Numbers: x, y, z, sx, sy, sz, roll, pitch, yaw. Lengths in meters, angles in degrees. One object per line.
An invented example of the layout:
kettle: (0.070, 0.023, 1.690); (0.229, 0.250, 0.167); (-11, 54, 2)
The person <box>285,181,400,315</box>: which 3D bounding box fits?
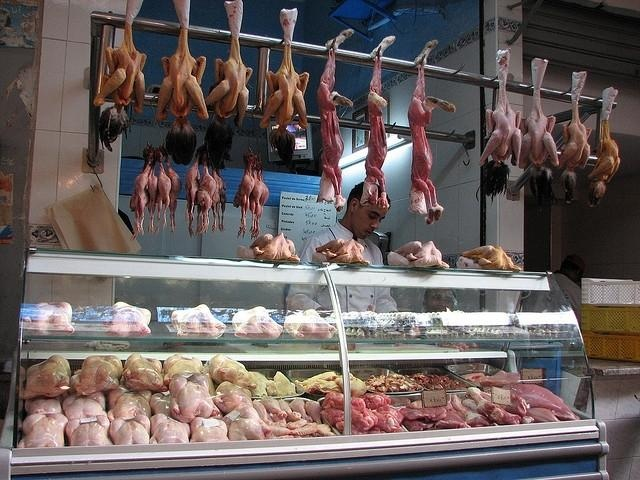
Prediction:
person: (0.108, 0.027, 3.560); (0.586, 1.232, 0.464); (21, -19, -34)
